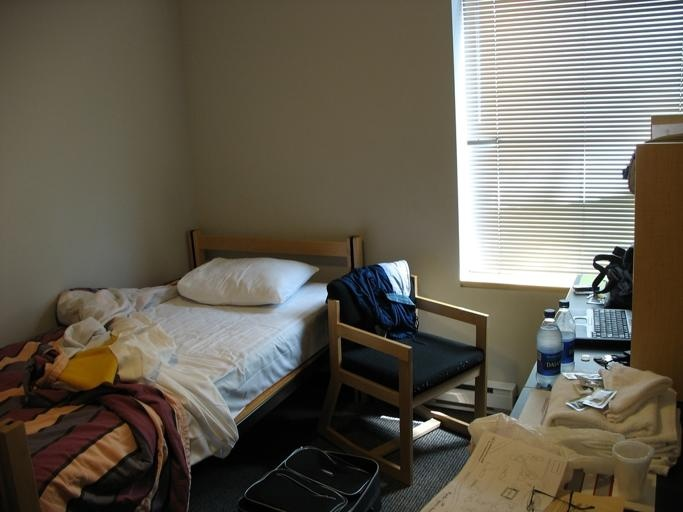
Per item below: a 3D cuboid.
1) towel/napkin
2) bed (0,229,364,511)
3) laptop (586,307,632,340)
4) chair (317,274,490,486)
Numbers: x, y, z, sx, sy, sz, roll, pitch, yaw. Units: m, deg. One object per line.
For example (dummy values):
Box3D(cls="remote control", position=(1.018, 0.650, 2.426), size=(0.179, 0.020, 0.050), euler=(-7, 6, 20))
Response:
Box3D(cls="towel/napkin", position=(0.886, 0.505, 1.628), size=(0.282, 0.121, 0.377), euler=(-2, 21, 20))
Box3D(cls="bed", position=(-0.844, 0.547, 2.442), size=(0.797, 0.688, 1.576), euler=(7, 21, 19))
Box3D(cls="laptop", position=(1.166, 0.305, 2.227), size=(0.135, 0.011, 0.159), euler=(2, 18, 24))
Box3D(cls="chair", position=(0.448, 0.521, 3.106), size=(0.875, 1.208, 0.891), euler=(-12, 15, -43))
